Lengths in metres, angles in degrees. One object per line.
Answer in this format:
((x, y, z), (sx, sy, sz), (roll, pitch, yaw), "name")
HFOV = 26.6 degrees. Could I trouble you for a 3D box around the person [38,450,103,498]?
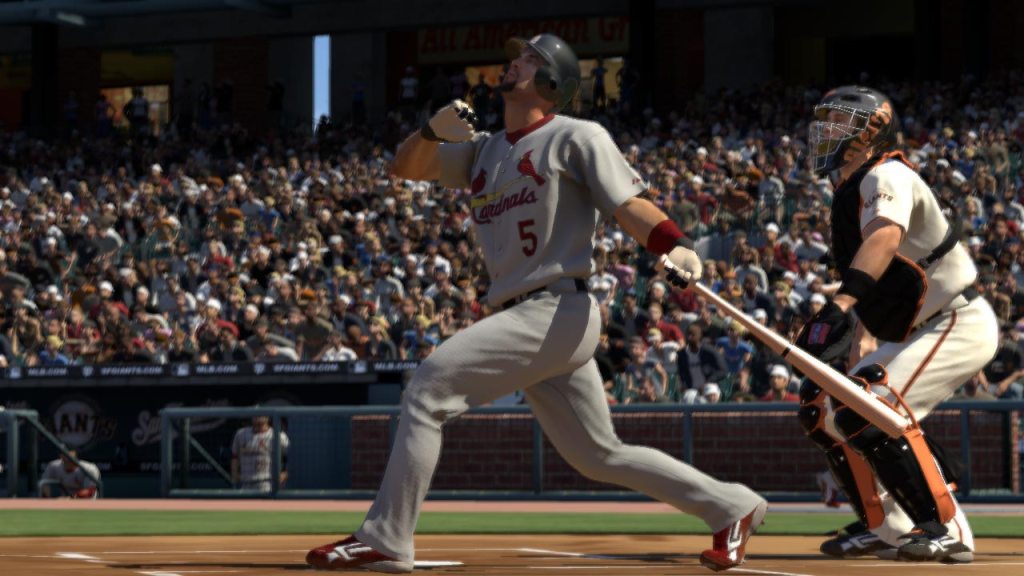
((-9.468, 3.972, 46.427), (1.347, 1.003, 0.510), (1, 1, -10), "person")
